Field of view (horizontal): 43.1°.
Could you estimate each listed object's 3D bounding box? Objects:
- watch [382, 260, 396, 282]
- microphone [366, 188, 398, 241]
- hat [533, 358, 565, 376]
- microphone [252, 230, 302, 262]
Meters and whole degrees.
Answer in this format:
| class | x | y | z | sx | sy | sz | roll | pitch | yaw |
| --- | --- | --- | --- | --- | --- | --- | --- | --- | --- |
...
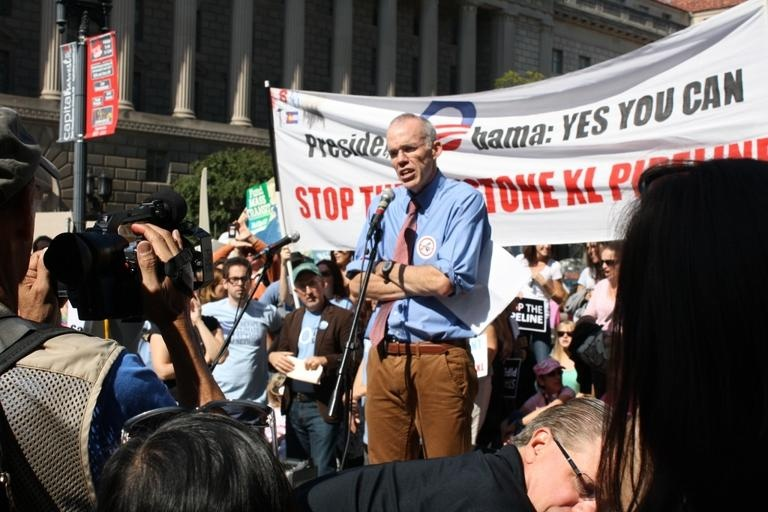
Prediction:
| class | x | y | z | sx | sy | sz | roll | pitch | yaw |
| --- | --- | --- | --- | --- | --- | --- | --- | --- | --- |
| watch | 0.033 | 0.084 | 5.257 | 0.031 | 0.104 | 0.074 | 14 | -16 | -34 |
| microphone | -0.024 | -0.245 | 5.469 | 0.092 | 0.370 | 0.087 | 26 | -49 | -29 |
| hat | 1.216 | 0.834 | 7.303 | 0.119 | 0.083 | 0.163 | 1 | -13 | -30 |
| microphone | -0.921 | -0.081 | 8.437 | 0.118 | 0.114 | 0.642 | -24 | 4 | 37 |
